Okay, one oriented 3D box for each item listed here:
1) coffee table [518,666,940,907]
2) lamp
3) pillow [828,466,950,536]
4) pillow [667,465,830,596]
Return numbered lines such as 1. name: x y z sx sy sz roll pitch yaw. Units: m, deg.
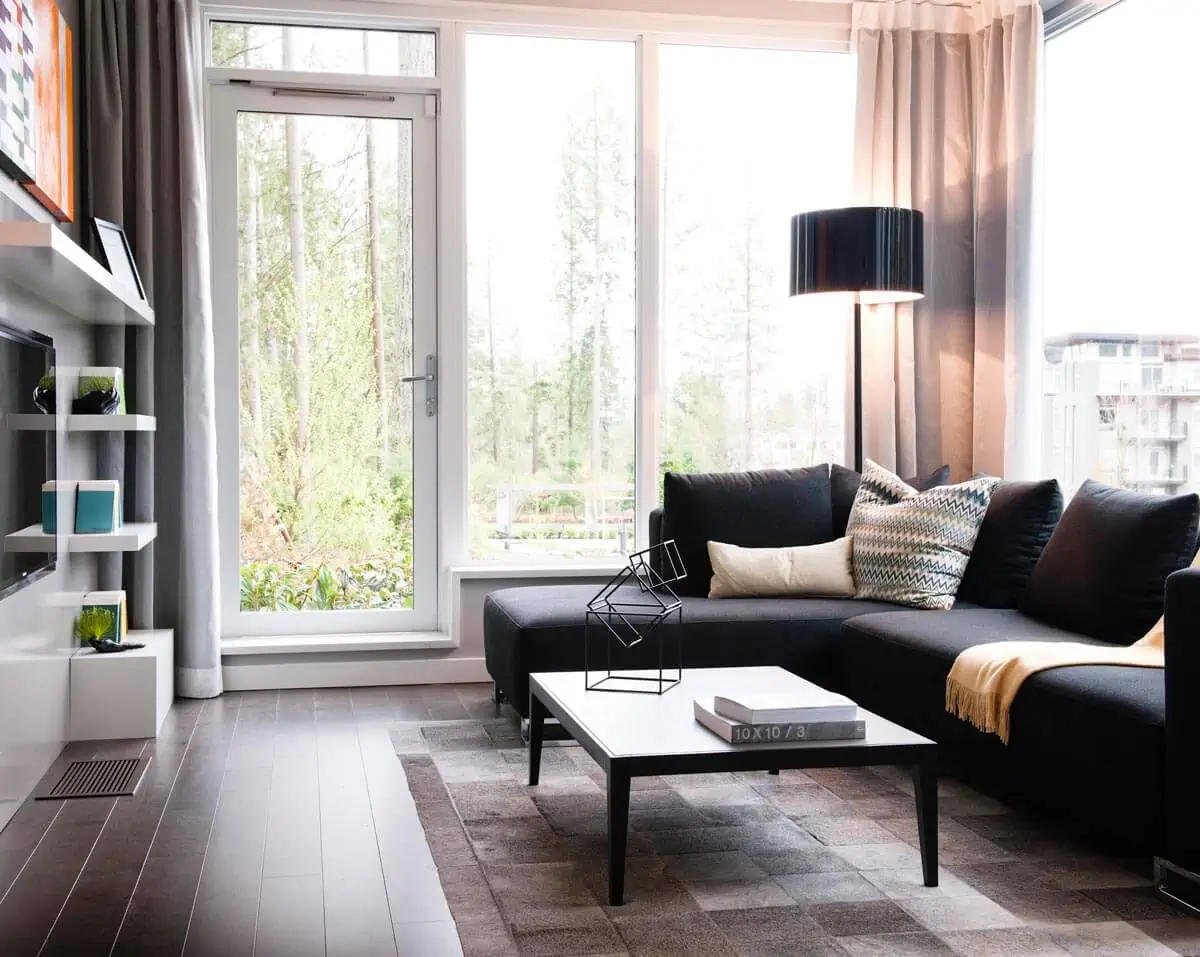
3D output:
1. coffee table: 0.317 0.782 2.723 0.979 0.395 0.928 0 2 -9
2. lamp: 1.159 -0.643 4.445 0.592 1.206 0.419 0 2 -9
3. pillow: 1.198 0.054 4.301 0.109 0.384 0.374 1 3 -36
4. pillow: 0.611 0.240 4.046 0.456 0.364 0.166 -1 -4 -7
